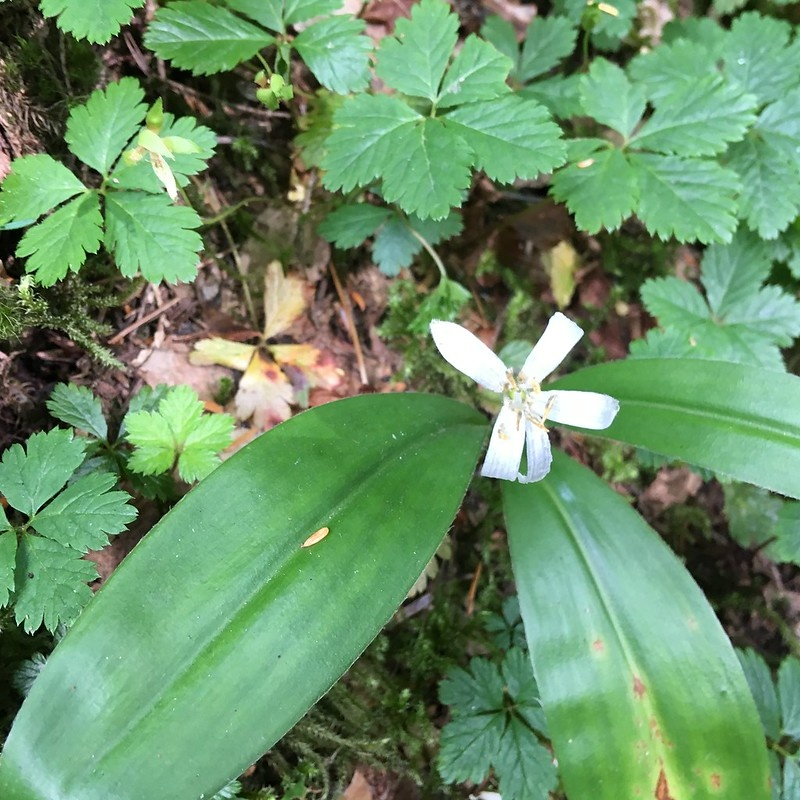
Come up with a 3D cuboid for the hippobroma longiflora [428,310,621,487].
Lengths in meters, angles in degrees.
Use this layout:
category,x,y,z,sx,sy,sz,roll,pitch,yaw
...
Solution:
category,x,y,z,sx,sy,sz,roll,pitch,yaw
hippobroma longiflora,0.347,-0.017,2.233,0.410,0.264,0.470,-15,56,-14
